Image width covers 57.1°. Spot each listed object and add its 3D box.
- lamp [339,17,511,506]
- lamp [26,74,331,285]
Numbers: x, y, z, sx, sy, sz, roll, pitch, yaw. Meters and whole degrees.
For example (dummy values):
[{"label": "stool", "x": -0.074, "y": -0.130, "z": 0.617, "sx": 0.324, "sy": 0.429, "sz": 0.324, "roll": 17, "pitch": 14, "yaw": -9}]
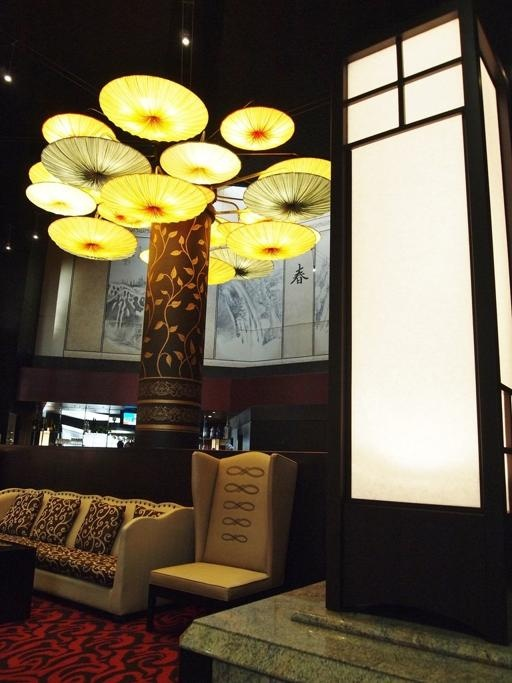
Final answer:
[{"label": "lamp", "x": 0.433, "y": -0.278, "z": 1.412, "sx": 0.113, "sy": 1.483, "sz": 0.460, "roll": 9, "pitch": -10, "yaw": -43}, {"label": "lamp", "x": -0.672, "y": -1.443, "z": 4.479, "sx": 2.488, "sy": 1.323, "sz": 2.178, "roll": 8, "pitch": -9, "yaw": -38}]
